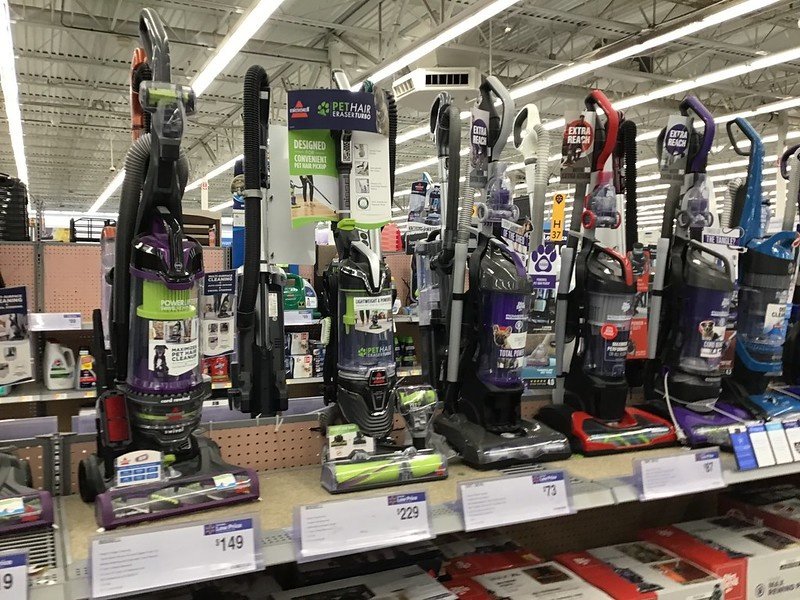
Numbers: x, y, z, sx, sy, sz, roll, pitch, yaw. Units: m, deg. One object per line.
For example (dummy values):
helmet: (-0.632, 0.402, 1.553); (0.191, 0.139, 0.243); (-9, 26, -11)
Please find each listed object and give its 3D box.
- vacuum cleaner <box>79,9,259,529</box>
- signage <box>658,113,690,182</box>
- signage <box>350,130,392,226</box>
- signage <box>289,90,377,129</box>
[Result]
vacuum cleaner: (-0.808, -0.143, 2.195); (0.551, 1.636, 0.673); (-2, 12, -27)
signage: (1.266, -0.687, 2.978); (0.120, 0.306, 0.010); (9, 29, 22)
signage: (-0.119, -0.482, 2.702); (0.188, 0.397, 0.045); (2, 33, 0)
signage: (-0.259, -0.751, 2.563); (0.361, 0.167, 0.125); (1, 11, -11)
